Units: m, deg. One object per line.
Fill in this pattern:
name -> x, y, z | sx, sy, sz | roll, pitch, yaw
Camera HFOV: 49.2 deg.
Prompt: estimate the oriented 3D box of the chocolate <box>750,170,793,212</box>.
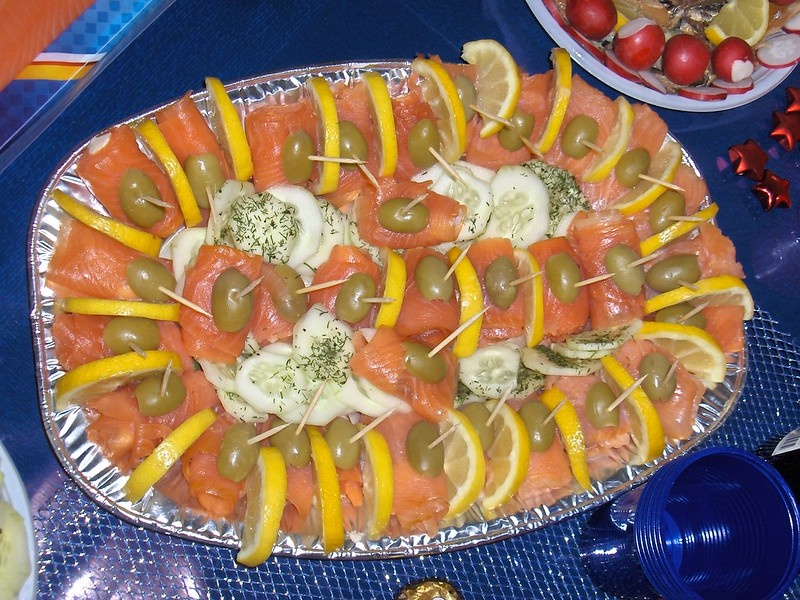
chocolate -> 2.358, -0.700, 5.525 | 0.216, 0.062, 0.260 | 8, 79, -22
